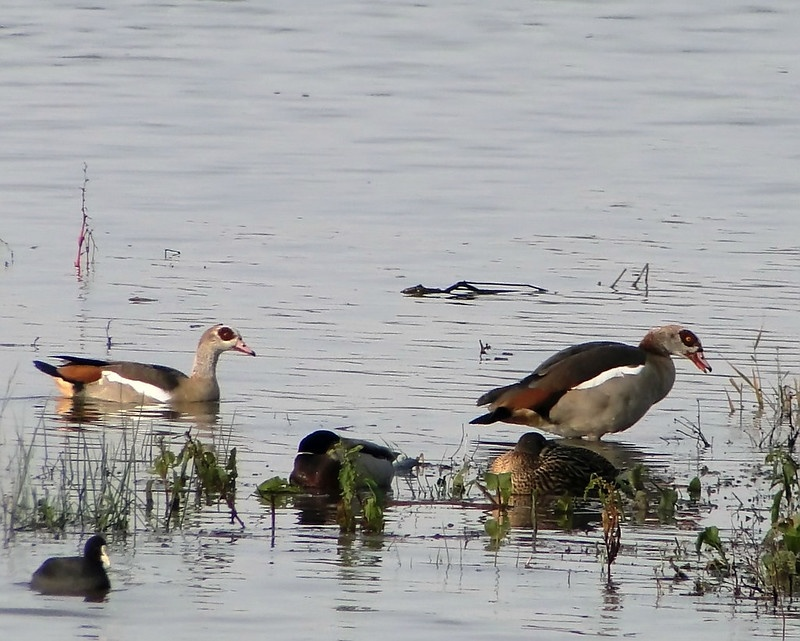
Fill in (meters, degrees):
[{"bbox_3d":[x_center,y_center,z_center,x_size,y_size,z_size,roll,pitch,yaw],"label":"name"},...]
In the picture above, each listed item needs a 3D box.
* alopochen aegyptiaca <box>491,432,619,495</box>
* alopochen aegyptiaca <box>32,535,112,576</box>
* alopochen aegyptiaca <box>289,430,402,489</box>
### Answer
[{"bbox_3d":[1.659,1.560,18.529,1.358,0.538,0.745,2,14,4],"label":"alopochen aegyptiaca"},{"bbox_3d":[-2.813,2.087,15.093,0.475,0.353,0.634,14,18,41],"label":"alopochen aegyptiaca"},{"bbox_3d":[-0.639,1.480,18.517,1.208,0.539,0.564,-1,-1,-17],"label":"alopochen aegyptiaca"}]
